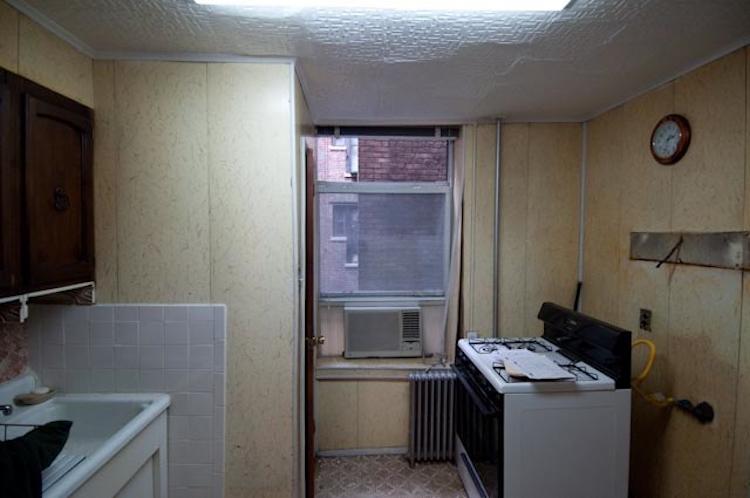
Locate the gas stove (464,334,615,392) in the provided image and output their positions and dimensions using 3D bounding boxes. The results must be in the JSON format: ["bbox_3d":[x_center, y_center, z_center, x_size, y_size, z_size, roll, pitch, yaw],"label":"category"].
[{"bbox_3d":[1.017,0.755,3.805,0.689,0.077,0.979,2,5,-8],"label":"gas stove"}]

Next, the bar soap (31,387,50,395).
[{"bbox_3d":[-2.049,0.865,3.450,0.045,0.024,0.046,12,10,28],"label":"bar soap"}]

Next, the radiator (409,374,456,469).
[{"bbox_3d":[0.432,1.294,4.340,0.356,0.723,0.173,0,1,4],"label":"radiator"}]

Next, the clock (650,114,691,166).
[{"bbox_3d":[1.917,-0.710,3.659,0.054,0.320,0.249,0,1,-31],"label":"clock"}]
